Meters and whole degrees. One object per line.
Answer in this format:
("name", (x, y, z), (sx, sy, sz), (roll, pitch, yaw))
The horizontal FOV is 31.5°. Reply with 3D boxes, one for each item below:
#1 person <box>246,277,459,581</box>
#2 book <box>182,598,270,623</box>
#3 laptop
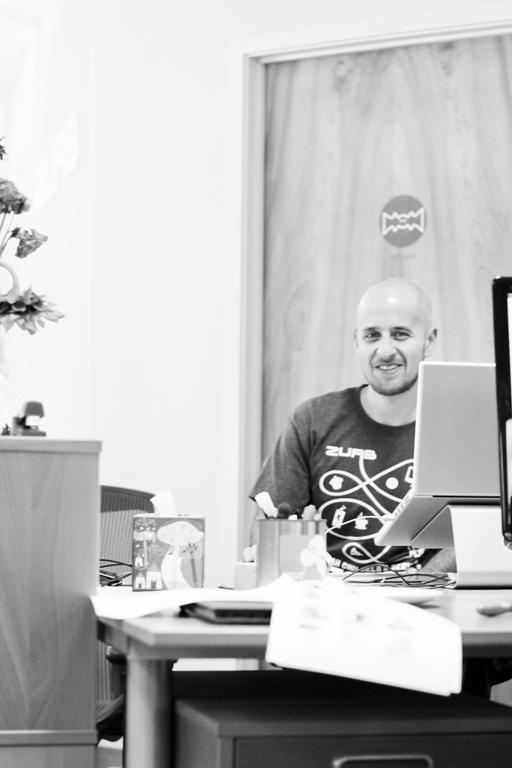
("person", (0.344, 0.184, 2.545), (0.646, 0.946, 0.620), (7, -11, 9))
("book", (-0.043, 0.236, 0.928), (0.134, 0.025, 0.068), (-14, -20, 39))
("laptop", (0.313, 0.116, 1.631), (0.327, 0.317, 0.247), (2, -8, -12))
